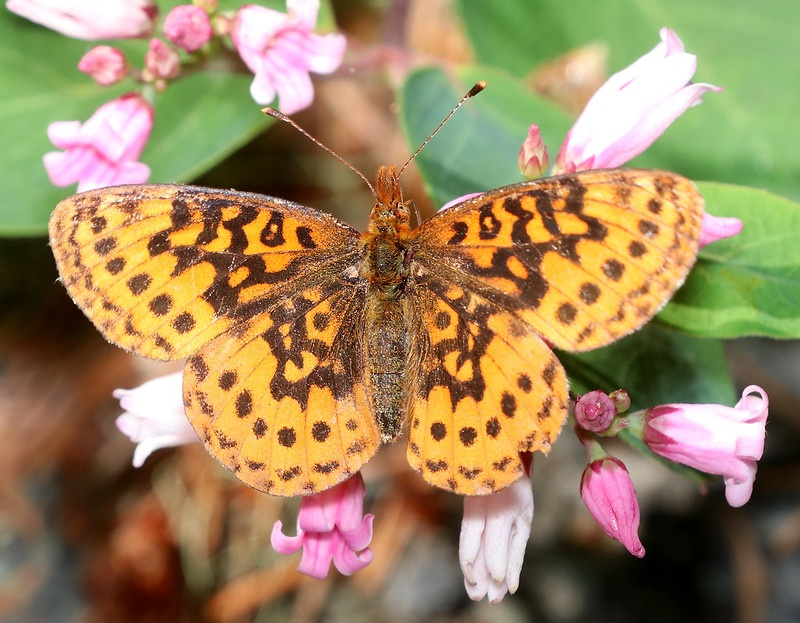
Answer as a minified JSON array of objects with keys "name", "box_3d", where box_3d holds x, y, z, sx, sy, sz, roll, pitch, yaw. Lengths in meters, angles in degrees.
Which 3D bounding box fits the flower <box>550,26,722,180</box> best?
[{"name":"flower","box_3d":[0.543,-0.470,2.096,0.431,0.241,0.239,-43,80,5]}]

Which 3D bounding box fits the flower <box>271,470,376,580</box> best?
[{"name":"flower","box_3d":[-0.178,0.507,2.030,0.267,0.262,0.089,39,74,-8]}]

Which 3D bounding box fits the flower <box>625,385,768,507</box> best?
[{"name":"flower","box_3d":[0.654,0.281,1.957,0.319,0.273,0.137,20,113,7]}]

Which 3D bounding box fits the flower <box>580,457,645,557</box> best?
[{"name":"flower","box_3d":[0.473,0.427,1.901,0.126,0.056,0.225,-26,69,10]}]

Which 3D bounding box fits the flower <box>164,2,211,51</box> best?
[{"name":"flower","box_3d":[-0.548,-0.735,2.204,0.122,0.084,0.091,-31,80,-4]}]
